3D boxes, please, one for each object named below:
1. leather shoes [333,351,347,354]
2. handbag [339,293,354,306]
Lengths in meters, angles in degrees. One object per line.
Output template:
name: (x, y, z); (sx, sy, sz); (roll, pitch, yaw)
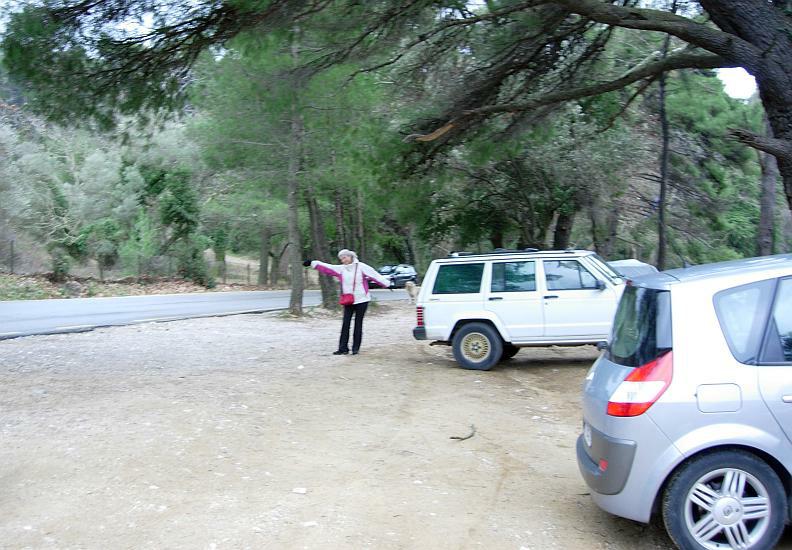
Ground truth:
leather shoes: (-1.300, 1.846, 14.123); (0.354, 0.089, 0.094); (3, -3, -1)
handbag: (-1.106, 0.550, 13.644); (0.504, 0.299, 0.164); (-3, 7, 10)
